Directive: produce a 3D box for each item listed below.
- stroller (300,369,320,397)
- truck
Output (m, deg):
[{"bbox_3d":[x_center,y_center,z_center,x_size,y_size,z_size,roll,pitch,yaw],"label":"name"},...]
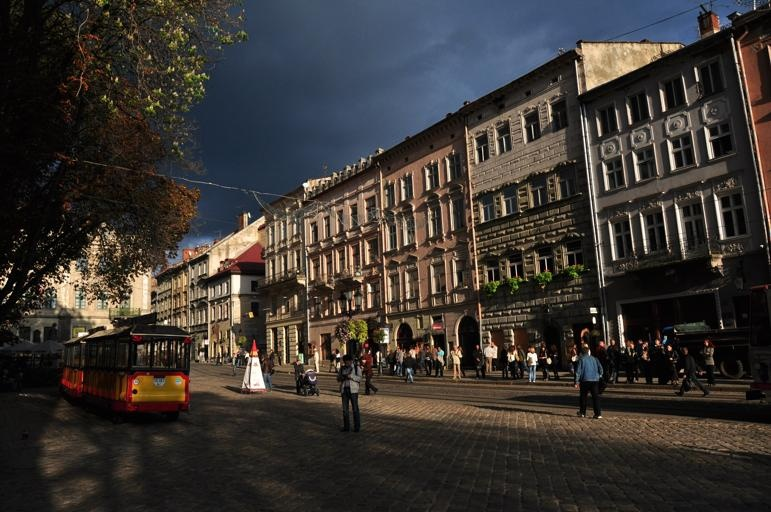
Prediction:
[{"bbox_3d":[-3.612,6.235,30.910,0.622,0.983,1.722,2,-18,-15],"label":"stroller"},{"bbox_3d":[15.551,4.443,30.281,2.744,1.809,2.377,-8,-11,40],"label":"truck"}]
